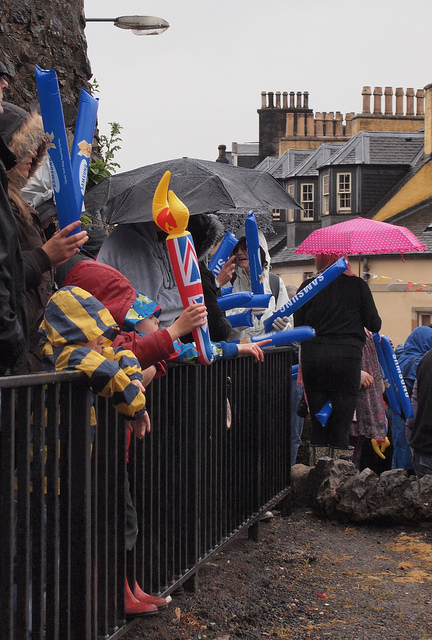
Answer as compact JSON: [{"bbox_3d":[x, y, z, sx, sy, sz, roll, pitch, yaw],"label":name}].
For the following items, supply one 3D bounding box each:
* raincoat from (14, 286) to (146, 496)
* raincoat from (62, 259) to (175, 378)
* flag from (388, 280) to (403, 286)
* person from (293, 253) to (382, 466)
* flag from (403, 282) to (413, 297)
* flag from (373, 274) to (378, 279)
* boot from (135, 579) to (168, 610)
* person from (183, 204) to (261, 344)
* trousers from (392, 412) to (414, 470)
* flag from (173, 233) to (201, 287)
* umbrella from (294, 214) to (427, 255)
[{"bbox_3d":[-0.506,0.224,3.054,0.371,0.680,0.693,4,3,27],"label":"raincoat"},{"bbox_3d":[-0.455,-0.016,3.495,0.434,0.531,0.380,-9,-6,-15],"label":"raincoat"},{"bbox_3d":[5.473,-1.130,26.511,0.437,0.063,0.087,-24,19,20],"label":"flag"},{"bbox_3d":[0.904,0.362,6.558,0.606,1.474,0.434,3,3,10],"label":"person"},{"bbox_3d":[5.667,-0.912,25.679,0.322,0.111,0.539,16,-21,-11],"label":"flag"},{"bbox_3d":[4.680,-1.291,25.630,0.147,0.063,0.193,18,25,6],"label":"flag"},{"bbox_3d":[-0.271,1.121,3.594,0.181,0.128,0.062,0,3,-15],"label":"boot"},{"bbox_3d":[-0.039,-0.248,4.650,0.236,0.913,0.255,13,-36,-42],"label":"person"},{"bbox_3d":[1.567,1.018,7.361,0.169,0.485,0.348,2,3,-12],"label":"trousers"},{"bbox_3d":[-0.117,-0.239,3.487,0.063,0.204,0.127,4,3,33],"label":"flag"},{"bbox_3d":[1.373,-0.803,8.365,1.111,0.384,0.984,2,3,-12],"label":"umbrella"}]
